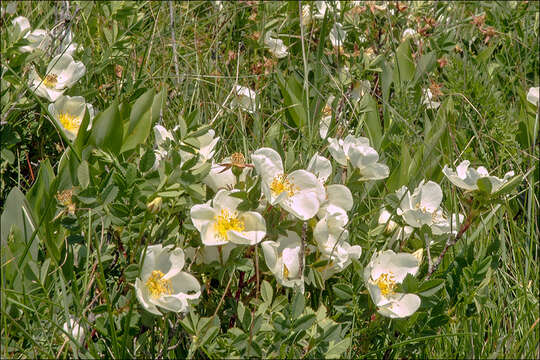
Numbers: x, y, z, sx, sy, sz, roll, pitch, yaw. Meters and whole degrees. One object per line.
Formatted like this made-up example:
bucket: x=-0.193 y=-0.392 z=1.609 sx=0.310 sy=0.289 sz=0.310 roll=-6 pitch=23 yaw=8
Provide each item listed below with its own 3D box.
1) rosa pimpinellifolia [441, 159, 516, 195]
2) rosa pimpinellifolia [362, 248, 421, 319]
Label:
rosa pimpinellifolia: x=0.820 y=-0.016 z=2.680 sx=0.165 sy=0.092 sz=0.198 roll=8 pitch=8 yaw=-17
rosa pimpinellifolia: x=0.465 y=0.396 z=2.523 sx=0.187 sy=0.115 sz=0.271 roll=-2 pitch=76 yaw=-22
